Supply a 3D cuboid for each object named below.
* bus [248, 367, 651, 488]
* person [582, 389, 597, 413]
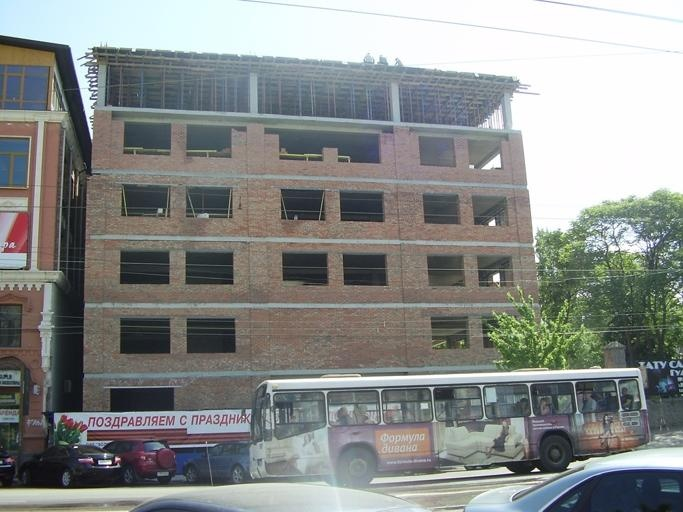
[{"bbox_3d":[4.593,6.396,33.786,16.152,3.256,3.157,-2,-1,-10],"label":"bus"},{"bbox_3d":[9.922,5.830,33.188,0.637,0.930,0.758,14,-20,-22],"label":"person"}]
